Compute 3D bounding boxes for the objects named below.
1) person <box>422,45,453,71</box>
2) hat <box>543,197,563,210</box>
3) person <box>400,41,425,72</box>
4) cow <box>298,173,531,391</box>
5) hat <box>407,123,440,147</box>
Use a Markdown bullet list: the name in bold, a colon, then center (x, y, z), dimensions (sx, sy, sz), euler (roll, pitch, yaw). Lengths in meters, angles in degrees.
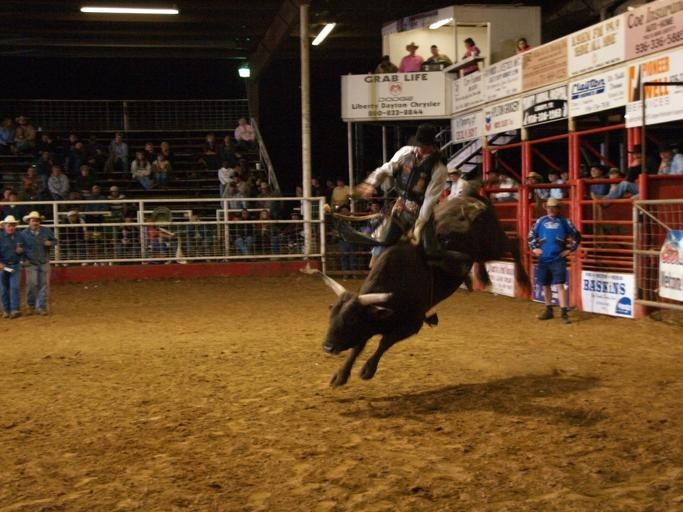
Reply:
- **person**: center (2.769, -5.704, 17.572), dimensions (0.661, 0.810, 0.890), euler (-9, 12, -36)
- **hat**: center (3.598, -0.939, 10.540), dimensions (0.200, 0.167, 0.416), euler (1, 8, 19)
- **person**: center (2.123, -6.162, 18.880), dimensions (0.739, 1.062, 1.285), euler (-1, 9, 7)
- **cow**: center (0.913, 0.156, 7.018), dimensions (3.465, 1.432, 1.302), euler (-32, 26, -23)
- **hat**: center (0.919, -1.401, 7.066), dimensions (0.322, 0.252, 0.605), euler (-1, 8, 6)
